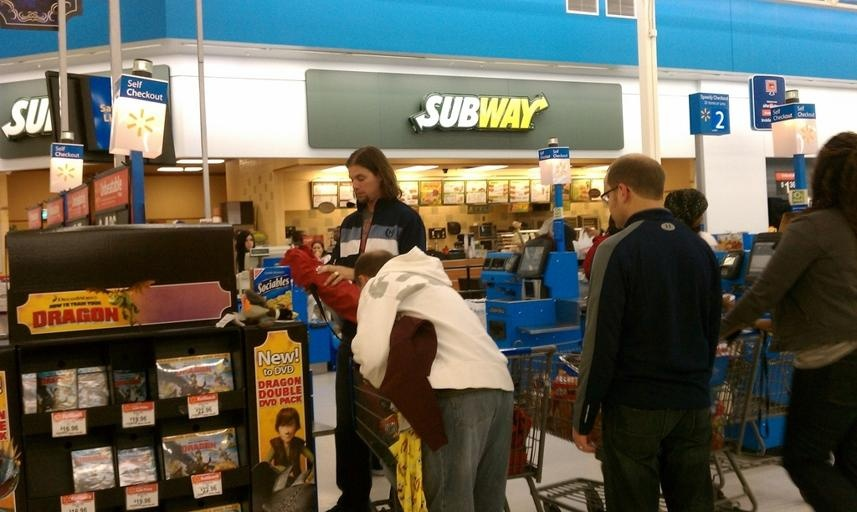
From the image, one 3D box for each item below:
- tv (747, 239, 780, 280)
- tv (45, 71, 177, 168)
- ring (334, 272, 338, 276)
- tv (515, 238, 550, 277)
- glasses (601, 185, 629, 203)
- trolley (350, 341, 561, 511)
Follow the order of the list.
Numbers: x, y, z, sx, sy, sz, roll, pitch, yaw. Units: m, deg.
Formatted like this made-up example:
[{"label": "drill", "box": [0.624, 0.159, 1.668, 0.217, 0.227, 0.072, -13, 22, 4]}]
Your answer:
[{"label": "tv", "box": [2.828, 0.030, 5.621, 0.117, 0.337, 0.256, 17, -4, -30]}, {"label": "tv", "box": [-5.349, -2.352, 11.350, 2.363, 1.618, 0.765, -1, 6, 8]}, {"label": "ring", "box": [-0.617, 0.118, 4.410, 0.023, 0.021, 0.022, 10, 8, -1]}, {"label": "tv", "box": [1.234, 0.020, 7.809, 0.413, 0.464, 0.329, 1, 7, 31]}, {"label": "glasses", "box": [1.211, -0.398, 4.288, 0.119, 0.032, 0.111, -20, -4, -8]}, {"label": "trolley", "box": [0.103, 1.155, 4.994, 1.571, 1.489, 0.937, 9, -10, -29]}]
